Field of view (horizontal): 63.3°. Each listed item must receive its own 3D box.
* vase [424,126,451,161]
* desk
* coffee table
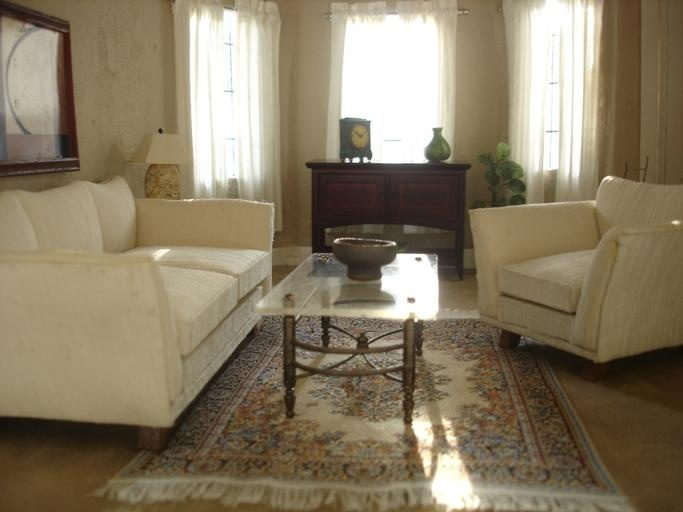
[{"bbox_3d":[0.859,-0.996,4.948,0.266,0.315,0.278,4,12,36],"label":"vase"},{"bbox_3d":[0.401,-0.345,4.482,1.051,0.871,0.381,0,6,2],"label":"desk"},{"bbox_3d":[0.086,0.282,2.824,0.641,0.564,0.928,1,12,6],"label":"coffee table"}]
